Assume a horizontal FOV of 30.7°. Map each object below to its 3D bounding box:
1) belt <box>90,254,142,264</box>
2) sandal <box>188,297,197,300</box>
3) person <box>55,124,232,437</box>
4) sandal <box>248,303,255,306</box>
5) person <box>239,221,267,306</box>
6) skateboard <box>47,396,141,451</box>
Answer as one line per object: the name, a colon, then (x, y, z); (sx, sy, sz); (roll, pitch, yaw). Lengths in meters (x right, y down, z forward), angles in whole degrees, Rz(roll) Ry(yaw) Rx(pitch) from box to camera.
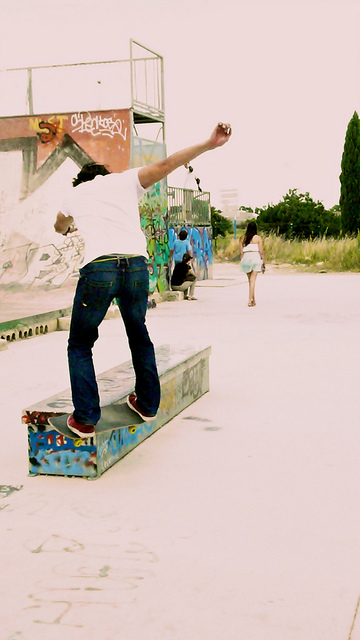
belt: (-0.324, -0.305, 3.266); (0.252, 0.043, 0.065); (-6, 8, -35)
sandal: (0.223, -0.465, 14.288); (0.110, 0.043, 0.034); (-10, 23, 24)
person: (-0.263, -0.161, 3.457); (0.740, 1.460, 0.461); (-3, 7, -12)
sandal: (1.330, -0.291, 12.287); (0.119, 0.055, 0.100); (-2, 7, -6)
person: (1.377, -1.047, 12.415); (0.455, 1.548, 1.263); (-1, 7, 6)
skateboard: (-0.403, 0.564, 3.502); (0.184, 0.099, 0.564); (24, 17, 21)
